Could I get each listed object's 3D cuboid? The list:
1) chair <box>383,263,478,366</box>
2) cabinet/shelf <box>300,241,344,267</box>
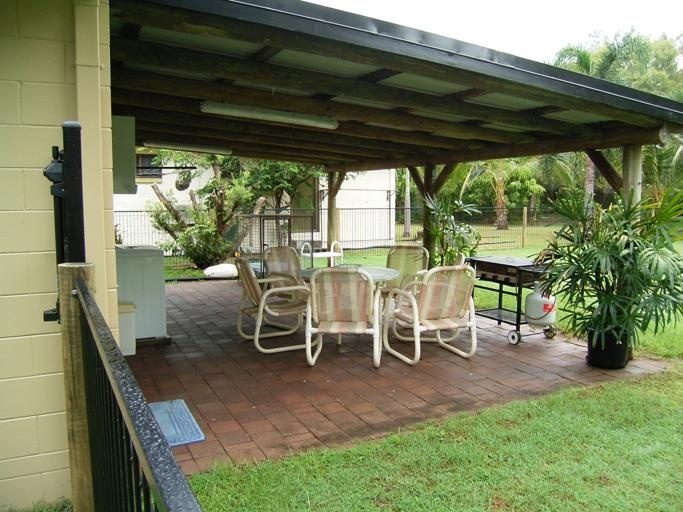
[{"bbox_3d":[0.875,0.572,5.635,1.009,1.193,1.165,-2,5,-19],"label":"chair"},{"bbox_3d":[-0.331,-0.026,9.639,0.890,0.833,0.783,-1,1,-9],"label":"cabinet/shelf"}]
